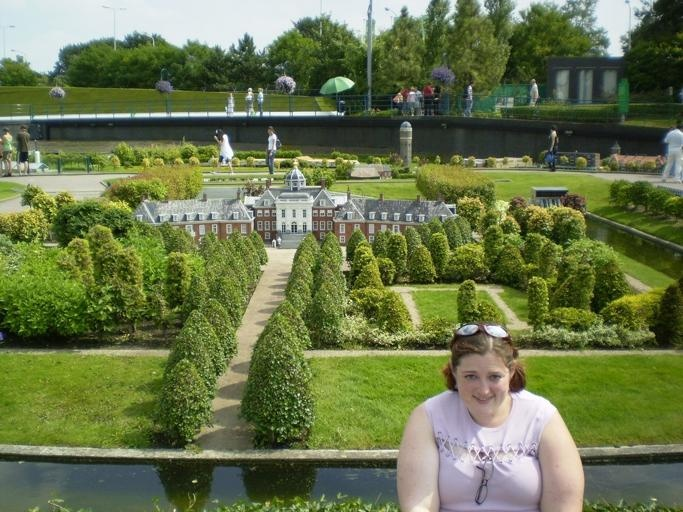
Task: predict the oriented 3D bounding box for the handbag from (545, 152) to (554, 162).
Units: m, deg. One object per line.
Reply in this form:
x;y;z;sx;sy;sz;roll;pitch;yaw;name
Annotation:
16.662;-7.688;68.679;0.741;0.669;1.059;-5;-6;26;handbag
